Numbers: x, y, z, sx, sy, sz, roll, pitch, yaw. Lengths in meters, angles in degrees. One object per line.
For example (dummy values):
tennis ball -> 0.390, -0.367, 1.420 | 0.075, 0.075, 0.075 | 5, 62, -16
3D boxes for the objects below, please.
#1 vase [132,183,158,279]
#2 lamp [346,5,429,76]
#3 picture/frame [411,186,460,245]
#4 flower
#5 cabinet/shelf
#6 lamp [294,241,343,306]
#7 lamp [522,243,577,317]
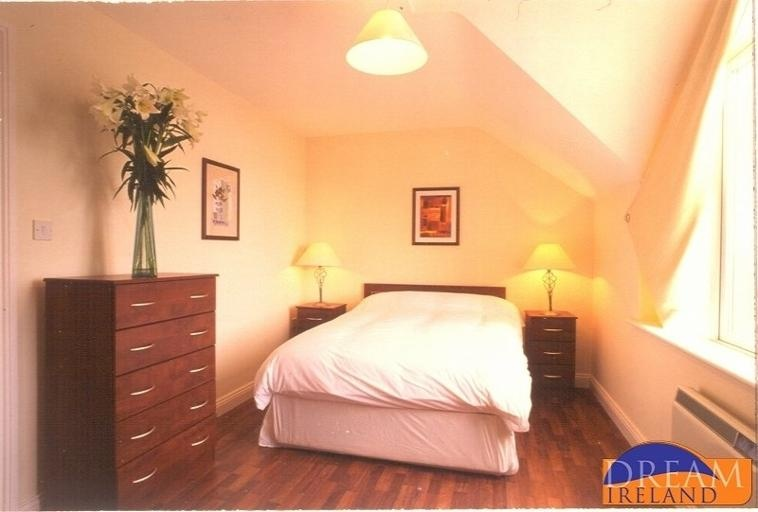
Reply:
vase -> -1.449, -0.132, 3.236 | 0.139, 0.430, 0.209 | -1, -1, -19
lamp -> 0.046, -1.231, 3.091 | 0.449, 0.233, 0.425 | 1, -1, -7
picture/frame -> 0.628, -0.425, 5.593 | 0.642, 0.749, 0.042 | 0, -5, 11
flower -> -1.508, -0.556, 3.469 | 0.635, 1.050, 0.699 | -1, -1, -26
cabinet/shelf -> -1.483, 0.804, 3.210 | 0.997, 1.078, 0.432 | -1, -1, -33
lamp -> -0.630, 0.212, 5.691 | 0.573, 0.718, 0.477 | -1, 3, -33
lamp -> 1.669, 0.206, 5.196 | 0.486, 0.692, 0.394 | -2, -1, 19
